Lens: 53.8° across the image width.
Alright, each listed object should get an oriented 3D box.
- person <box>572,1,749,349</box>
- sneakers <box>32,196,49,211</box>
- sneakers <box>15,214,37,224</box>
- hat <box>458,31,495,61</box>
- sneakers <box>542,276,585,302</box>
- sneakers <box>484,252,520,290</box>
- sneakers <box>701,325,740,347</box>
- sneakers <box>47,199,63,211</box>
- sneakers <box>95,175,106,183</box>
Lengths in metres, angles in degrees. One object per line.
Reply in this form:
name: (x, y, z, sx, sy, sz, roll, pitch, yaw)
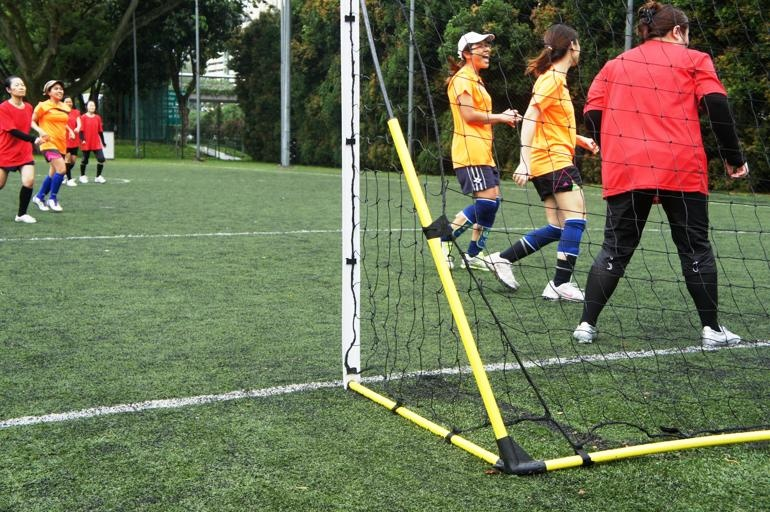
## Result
person: (2.008, -0.582, 5.552, 1.101, 2.466, 0.401, 3, 6, 14)
sneakers: (-5.335, -0.806, 11.729, 0.116, 0.263, 0.090, -40, 1, 30)
sneakers: (-4.805, -0.497, 10.155, 0.344, 0.146, 0.129, 2, 6, 1)
hat: (0.786, -1.928, 6.876, 0.218, 0.163, 0.311, -29, 2, -41)
sneakers: (1.557, 0.300, 6.609, 0.425, 0.196, 0.155, 2, 6, 2)
sneakers: (1.081, 0.146, 7.027, 0.161, 0.351, 0.129, -41, 3, -3)
sneakers: (2.481, 0.589, 5.573, 0.302, 0.130, 0.119, 0, 2, -19)
sneakers: (-5.007, -0.771, 11.523, 0.137, 0.155, 0.381, -2, 13, -38)
sneakers: (-6.456, -1.723, 17.255, 0.201, 0.234, 0.537, -3, 5, -32)
